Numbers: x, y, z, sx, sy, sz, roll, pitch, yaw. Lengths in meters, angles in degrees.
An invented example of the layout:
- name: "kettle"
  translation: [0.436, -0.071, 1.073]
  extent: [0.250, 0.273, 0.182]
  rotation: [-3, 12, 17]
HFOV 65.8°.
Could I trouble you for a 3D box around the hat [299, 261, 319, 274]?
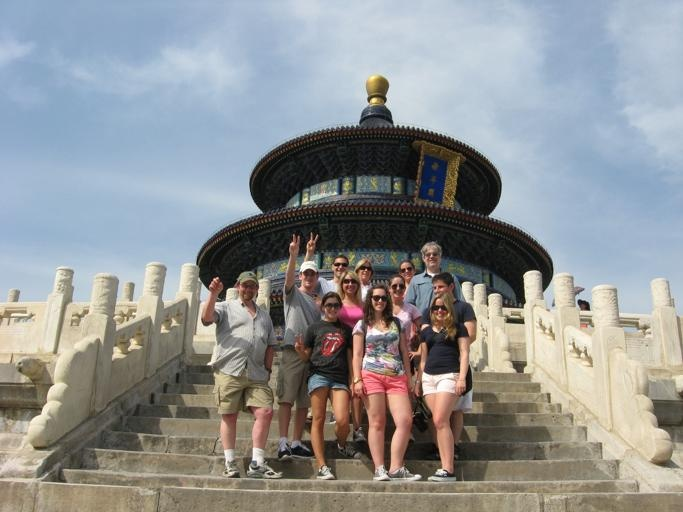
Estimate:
- name: "hat"
  translation: [-0.499, 0.165, 8.001]
  extent: [0.250, 0.191, 0.376]
  rotation: [1, -16, -1]
